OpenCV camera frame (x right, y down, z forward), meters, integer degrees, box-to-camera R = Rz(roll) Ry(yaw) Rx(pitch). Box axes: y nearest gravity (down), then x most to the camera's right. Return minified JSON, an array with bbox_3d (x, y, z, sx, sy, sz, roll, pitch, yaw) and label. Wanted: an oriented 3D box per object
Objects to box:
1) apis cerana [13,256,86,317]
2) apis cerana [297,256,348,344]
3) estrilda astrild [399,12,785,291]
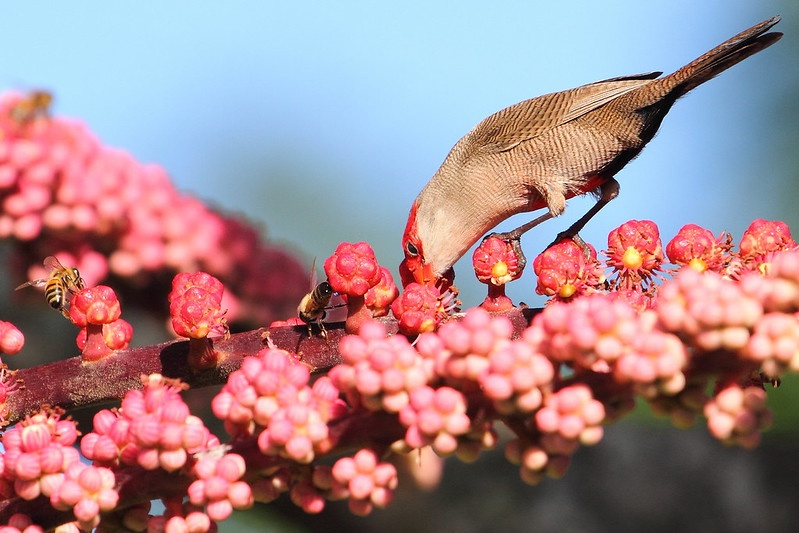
[{"bbox_3d":[-1.228,0.066,3.833,0.285,0.131,0.339,-2,16,-6],"label":"apis cerana"},{"bbox_3d":[-0.250,0.113,3.460,0.116,0.212,0.136,-11,22,-32],"label":"apis cerana"},{"bbox_3d":[0.766,-0.453,4.293,1.896,0.685,0.543,-25,-13,21],"label":"estrilda astrild"}]
